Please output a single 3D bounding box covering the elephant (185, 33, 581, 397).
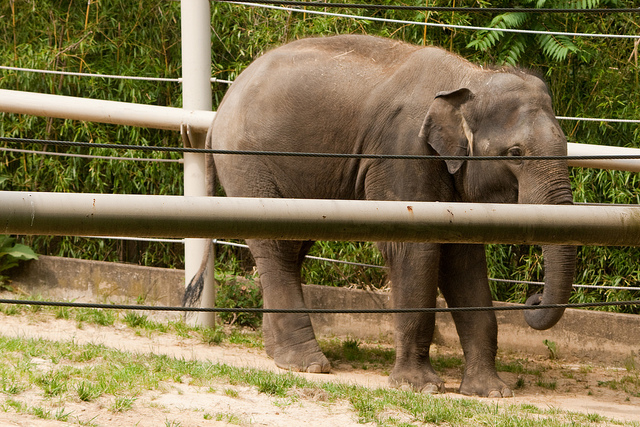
[{"bbox_3d":[0.542,-0.012,8.698,2.599,2.596,1.112,0,-8,15],"label":"elephant"}]
